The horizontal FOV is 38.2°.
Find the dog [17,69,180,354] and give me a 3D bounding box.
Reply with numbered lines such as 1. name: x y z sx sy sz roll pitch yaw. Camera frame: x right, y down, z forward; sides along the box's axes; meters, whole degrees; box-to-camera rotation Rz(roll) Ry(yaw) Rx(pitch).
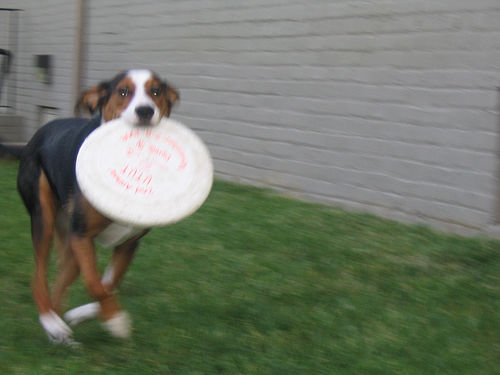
1. dog: -1.193 0.152 5.362 0.830 1.879 2.231 2 -1 -37
